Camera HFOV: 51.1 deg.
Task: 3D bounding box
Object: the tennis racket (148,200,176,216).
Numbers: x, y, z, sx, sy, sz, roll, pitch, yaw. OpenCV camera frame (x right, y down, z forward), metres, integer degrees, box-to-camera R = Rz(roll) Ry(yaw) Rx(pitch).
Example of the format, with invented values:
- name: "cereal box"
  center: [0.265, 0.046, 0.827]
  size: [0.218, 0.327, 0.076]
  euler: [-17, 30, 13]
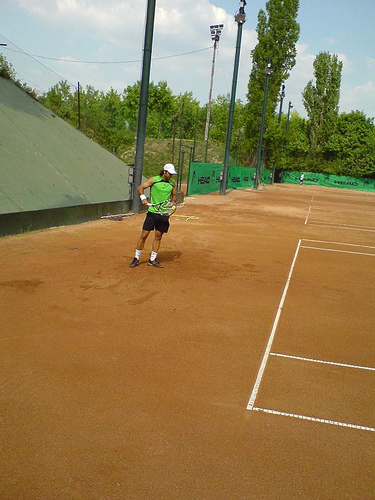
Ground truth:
- name: "tennis racket"
  center: [-0.434, -0.806, 7.423]
  size: [0.392, 0.297, 1.023]
  euler: [8, 10, 15]
